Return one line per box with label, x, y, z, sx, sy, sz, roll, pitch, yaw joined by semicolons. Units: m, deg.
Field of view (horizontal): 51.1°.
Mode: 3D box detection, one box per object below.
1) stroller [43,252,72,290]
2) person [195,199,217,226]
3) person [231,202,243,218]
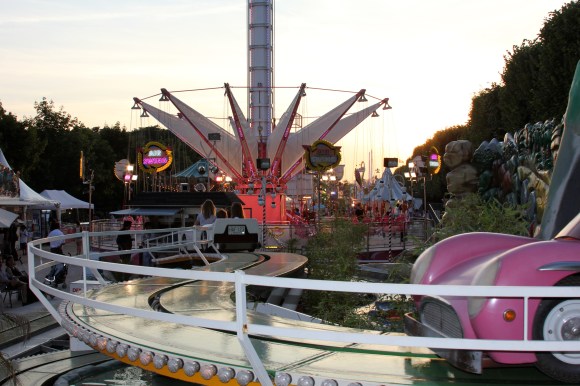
stroller;-7.474;2.557;19.320;0.950;1.394;0.705;-5;14;-19
person;-2.527;0.604;18.102;0.613;0.765;0.741;-2;-2;-9
person;-1.674;0.547;19.125;0.380;0.558;0.926;-2;-3;-4
